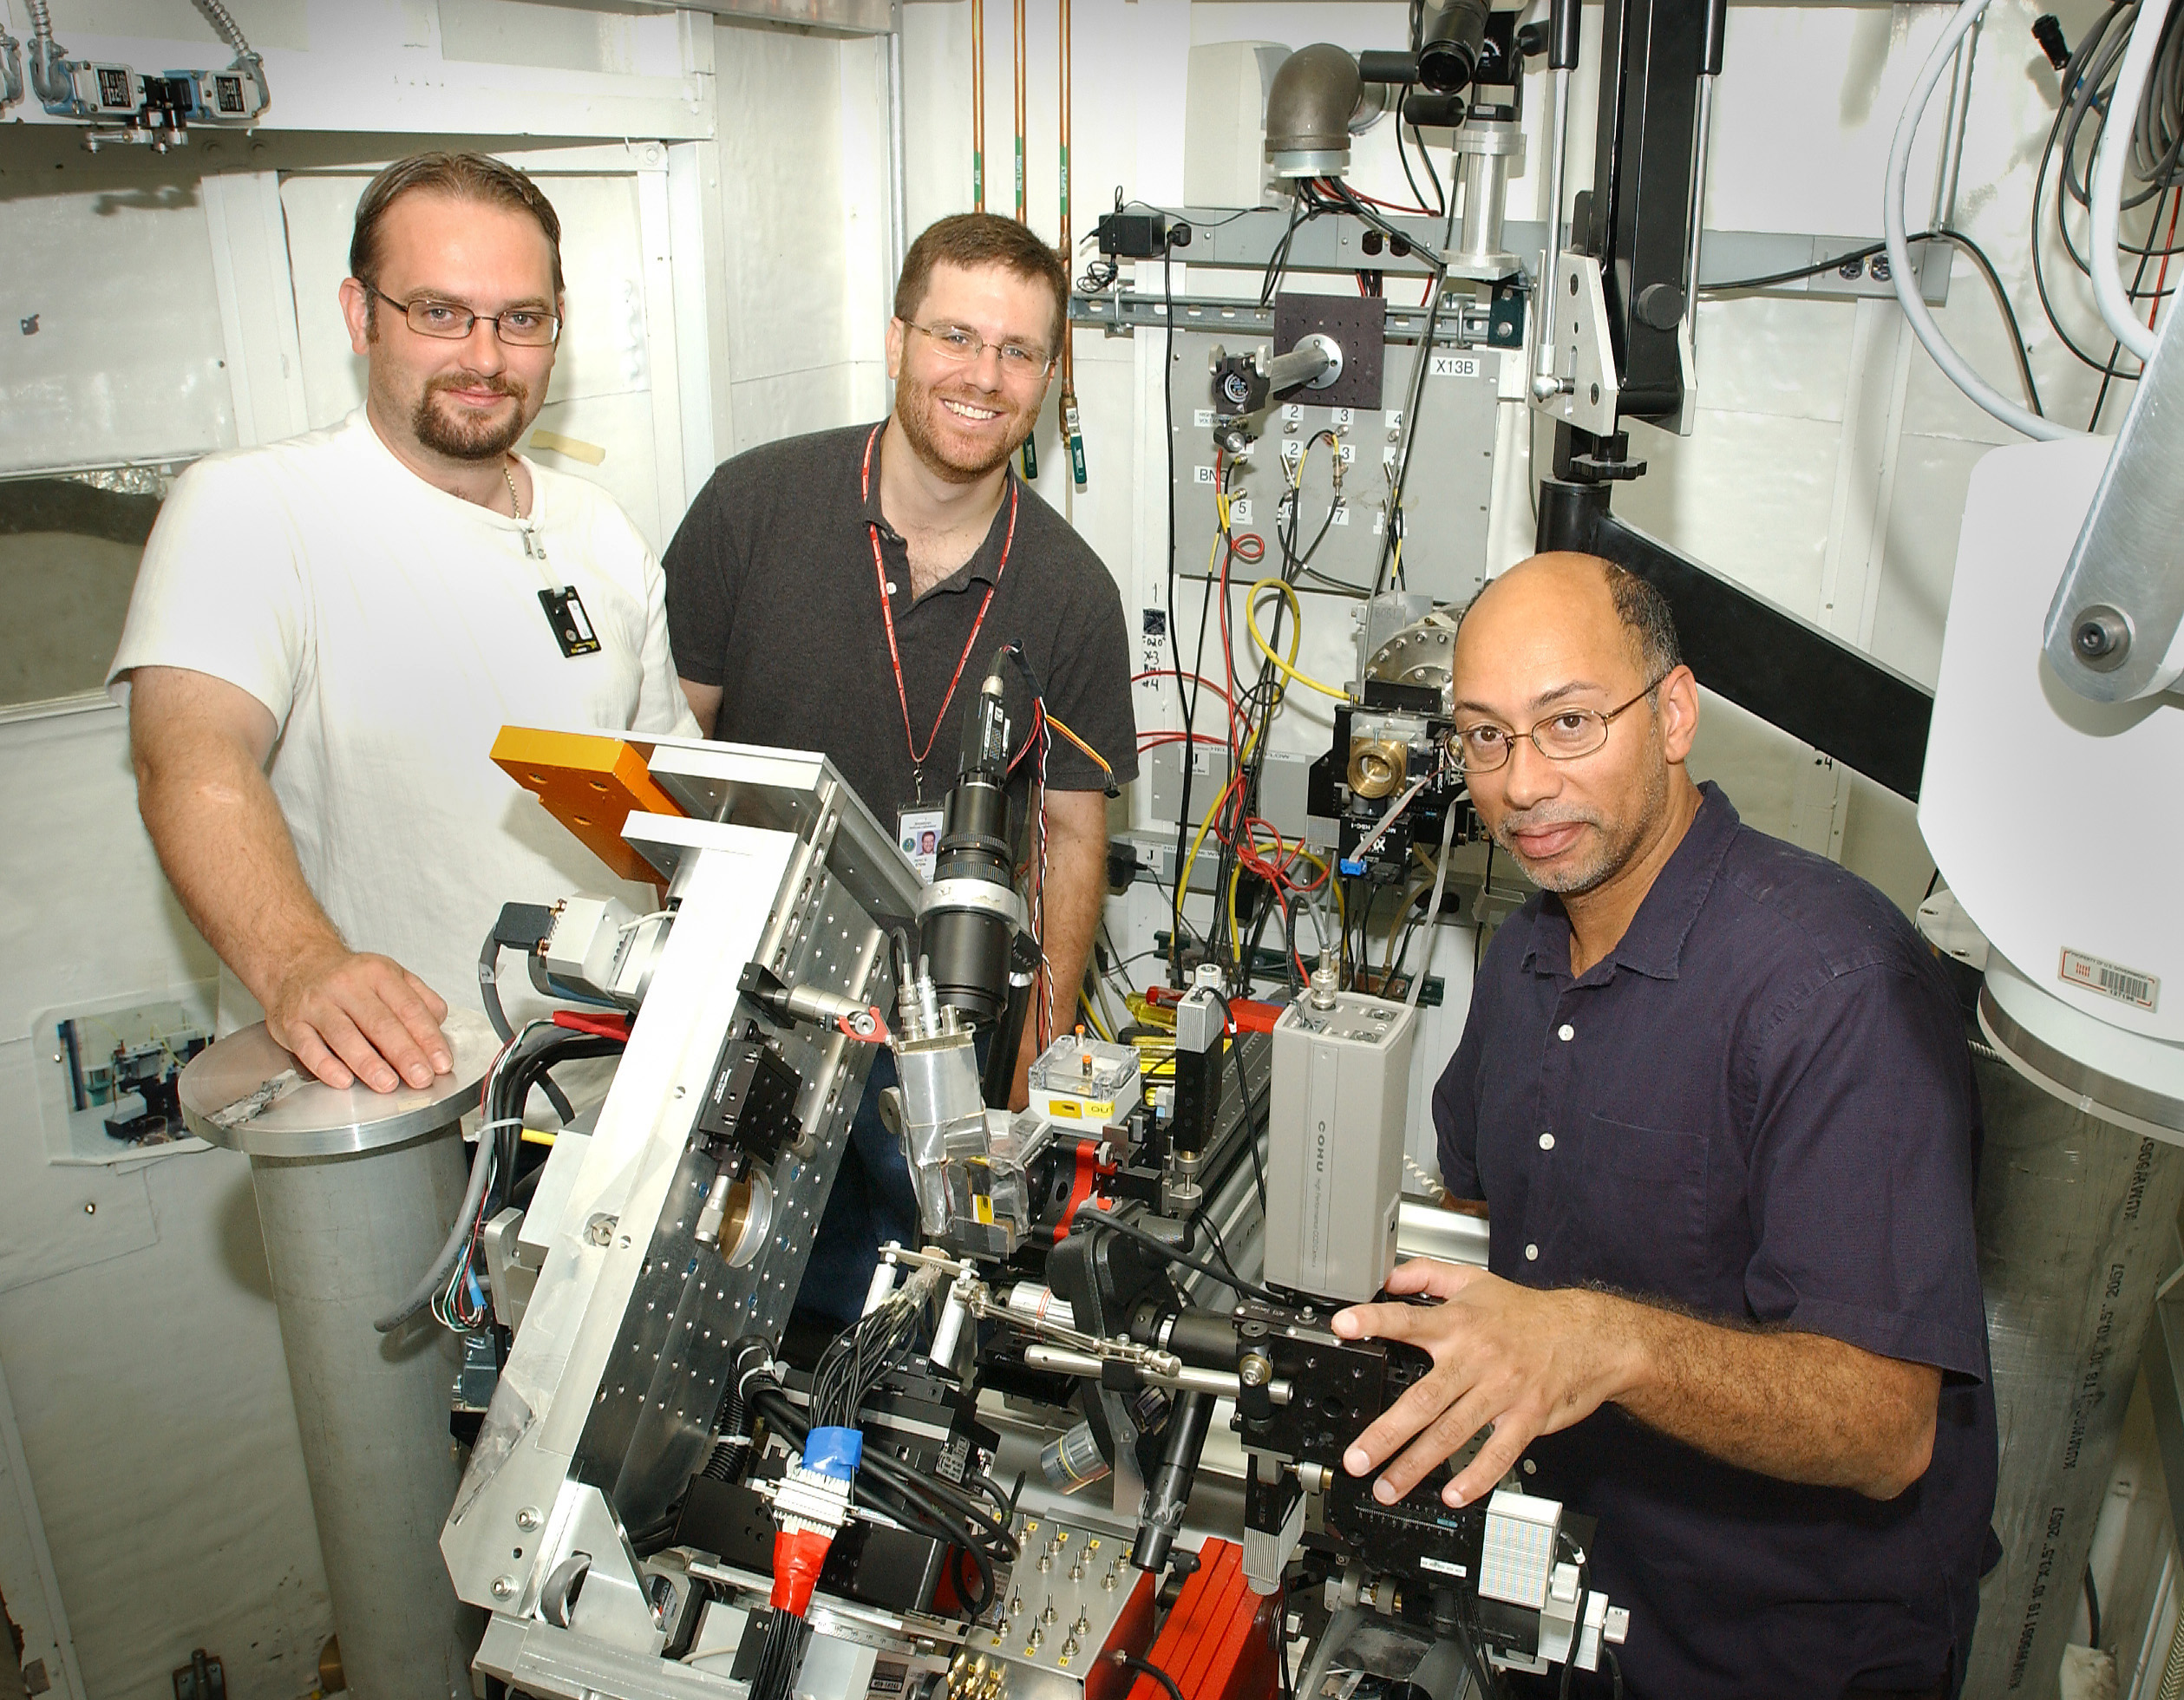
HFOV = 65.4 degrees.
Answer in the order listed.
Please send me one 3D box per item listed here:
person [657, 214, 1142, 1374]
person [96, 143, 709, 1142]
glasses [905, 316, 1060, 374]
[{"bbox_3d":[-0.257,-0.322,2.972,0.928,1.487,1.263,-5,19,-15],"label":"person"},{"bbox_3d":[-0.990,-0.309,2.250,0.613,1.167,1.085,0,19,1],"label":"person"},{"bbox_3d":[-0.200,-0.912,3.072,0.253,0.091,0.084,-4,19,-11],"label":"glasses"}]
